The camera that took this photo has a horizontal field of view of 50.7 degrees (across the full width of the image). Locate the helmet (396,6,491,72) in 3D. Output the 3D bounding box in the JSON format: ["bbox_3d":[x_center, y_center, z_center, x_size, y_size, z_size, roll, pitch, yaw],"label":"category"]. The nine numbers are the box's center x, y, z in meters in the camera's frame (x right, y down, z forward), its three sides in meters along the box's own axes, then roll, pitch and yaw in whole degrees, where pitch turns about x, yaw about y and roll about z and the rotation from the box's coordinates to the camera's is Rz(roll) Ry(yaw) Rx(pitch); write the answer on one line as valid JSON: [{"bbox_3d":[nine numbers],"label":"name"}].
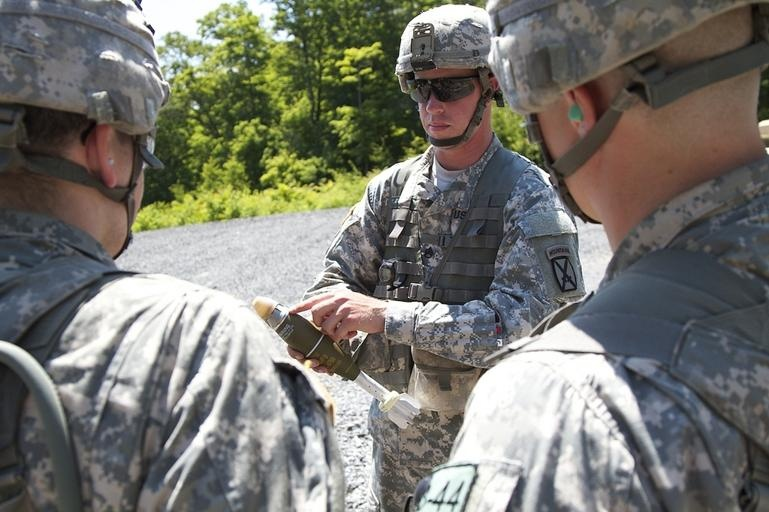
[{"bbox_3d":[0.300,-0.941,3.619,0.409,0.278,0.437,0,13,18],"label":"helmet"}]
